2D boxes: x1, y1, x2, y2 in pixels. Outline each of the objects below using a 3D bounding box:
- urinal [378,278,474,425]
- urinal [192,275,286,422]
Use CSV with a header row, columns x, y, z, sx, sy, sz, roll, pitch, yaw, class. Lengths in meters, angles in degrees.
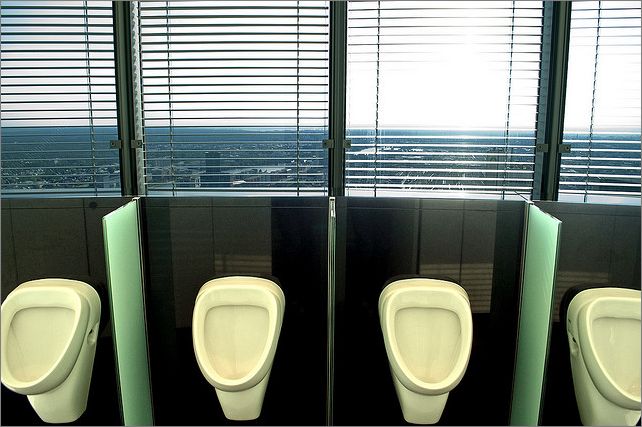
x,y,z,sx,sy,sz,roll,pitch,yaw,class
0.692,0.917,3.815,0.708,0.592,0.928,8,-70,7,urinal
-0.569,0.952,3.890,0.664,0.920,0.887,0,7,-1,urinal
